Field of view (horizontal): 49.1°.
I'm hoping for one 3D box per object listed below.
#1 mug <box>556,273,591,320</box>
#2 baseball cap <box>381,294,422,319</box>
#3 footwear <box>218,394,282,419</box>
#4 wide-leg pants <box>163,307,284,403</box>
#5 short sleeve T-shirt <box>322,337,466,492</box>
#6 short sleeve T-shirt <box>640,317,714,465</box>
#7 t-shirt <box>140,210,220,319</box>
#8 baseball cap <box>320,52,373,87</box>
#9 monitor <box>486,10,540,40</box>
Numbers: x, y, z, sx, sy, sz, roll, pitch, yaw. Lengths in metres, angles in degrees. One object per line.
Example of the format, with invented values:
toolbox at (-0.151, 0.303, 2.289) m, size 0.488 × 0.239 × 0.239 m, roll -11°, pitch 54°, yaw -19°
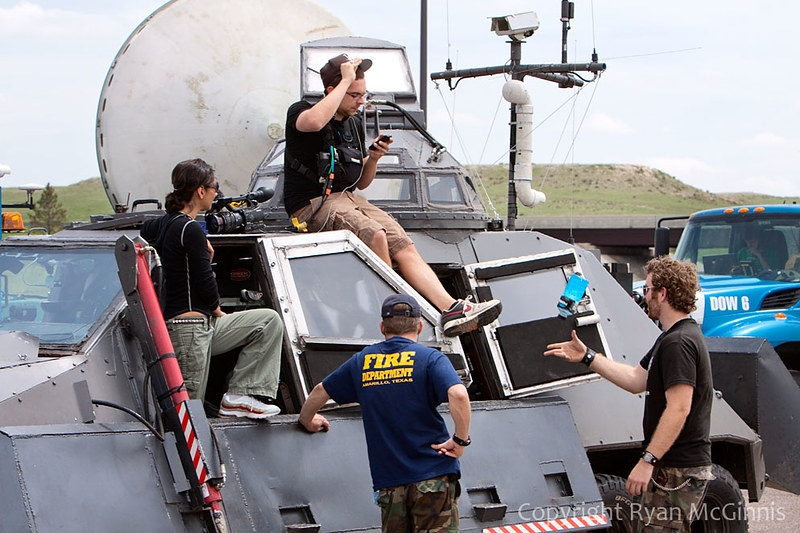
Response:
mug at (1.589, 0.259, 7.988) m, size 0.220 × 0.443 × 0.103 m, roll 32°, pitch 15°, yaw 32°
baseball cap at (-0.006, 0.287, 6.479) m, size 0.235 × 0.172 × 0.385 m, roll 2°, pitch -2°, yaw -5°
footwear at (-1.162, 1.068, 6.775) m, size 0.447 × 0.211 × 0.184 m, roll 3°, pitch 4°, yaw -11°
wide-leg pants at (-1.389, 0.692, 6.876) m, size 0.728 × 0.687 × 0.658 m, roll -9°, pitch 4°, yaw -29°
short sleeve T-shirt at (-0.069, 1.119, 6.434) m, size 1.104 × 0.849 × 0.485 m, roll -11°, pitch 1°, yaw 33°
short sleeve T-shirt at (2.115, 0.964, 6.703) m, size 0.491 × 1.119 × 0.364 m, roll 0°, pitch 8°, yaw 18°
t-shirt at (-1.739, -0.018, 6.789) m, size 0.634 × 0.798 × 0.343 m, roll 4°, pitch 9°, yaw 41°
baseball cap at (-0.483, -1.760, 7.822) m, size 0.384 × 0.160 × 0.289 m, roll -25°, pitch -5°, yaw 7°
monitor at (2.179, -4.605, 16.717) m, size 0.854 × 0.497 × 0.547 m, roll -6°, pitch 8°, yaw -30°
